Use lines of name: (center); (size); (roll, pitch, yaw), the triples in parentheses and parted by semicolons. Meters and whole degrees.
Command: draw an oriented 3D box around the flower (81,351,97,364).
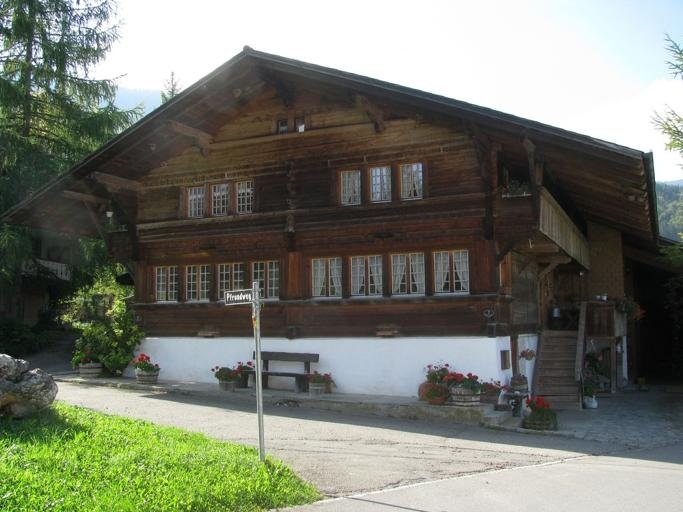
flower: (-9.039, 3.607, 23.834); (0.350, 0.427, 0.365); (-3, -4, -9)

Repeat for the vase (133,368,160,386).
vase: (-6.642, 4.113, 22.698); (0.547, 0.396, 0.560); (-2, -8, 15)

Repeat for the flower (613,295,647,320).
flower: (11.986, 2.179, 28.004); (0.730, 0.977, 3.182); (1, -4, 30)

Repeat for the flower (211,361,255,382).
flower: (-3.504, 3.717, 21.385); (0.778, 0.406, 0.827); (-1, -2, 34)

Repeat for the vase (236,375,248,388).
vase: (-3.243, 4.045, 21.661); (0.348, 0.429, 0.362); (2, -3, -22)

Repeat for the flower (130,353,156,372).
flower: (-6.613, 3.707, 22.843); (0.706, 0.568, 0.753); (3, -5, 37)

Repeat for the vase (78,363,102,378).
vase: (-8.993, 4.062, 23.835); (0.561, 0.401, 0.563); (4, -10, -8)

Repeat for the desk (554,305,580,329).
desk: (9.066, 2.473, 27.104); (0.972, 1.028, 0.923); (3, -3, -8)

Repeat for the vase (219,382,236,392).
vase: (-3.585, 4.093, 21.036); (0.310, 0.220, 0.329); (-2, -5, 35)

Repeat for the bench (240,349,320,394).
bench: (-2.013, 3.703, 21.178); (2.475, 1.271, 1.022); (-2, -5, 31)

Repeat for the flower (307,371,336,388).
flower: (-0.649, 3.995, 20.530); (0.761, 0.645, 0.442); (5, -10, -17)

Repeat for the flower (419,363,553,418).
flower: (3.666, 3.833, 18.871); (2.891, 1.227, 1.255); (4, -3, -6)

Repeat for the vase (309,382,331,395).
vase: (-0.669, 4.049, 20.417); (0.509, 0.376, 0.349); (-1, -2, 23)
